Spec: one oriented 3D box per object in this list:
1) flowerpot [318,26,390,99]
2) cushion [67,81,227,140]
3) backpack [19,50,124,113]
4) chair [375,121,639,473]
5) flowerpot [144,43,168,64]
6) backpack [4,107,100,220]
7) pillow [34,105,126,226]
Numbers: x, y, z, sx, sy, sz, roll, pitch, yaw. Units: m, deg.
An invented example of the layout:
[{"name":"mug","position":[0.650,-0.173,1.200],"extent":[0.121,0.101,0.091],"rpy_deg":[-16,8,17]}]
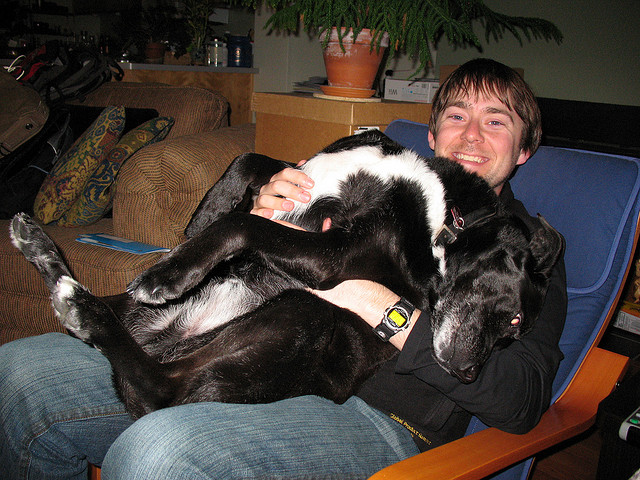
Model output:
[{"name":"flowerpot","position":[0.167,-0.962,2.741],"extent":[0.391,0.350,0.393],"rpy_deg":[4,23,-2]},{"name":"cushion","position":[-1.187,-0.988,3.582],"extent":[1.094,0.361,0.630],"rpy_deg":[10,27,28]},{"name":"backpack","position":[-1.835,-1.203,3.875],"extent":[0.619,0.226,0.583],"rpy_deg":[-32,49,-34]},{"name":"chair","position":[0.692,0.356,1.950],"extent":[0.861,0.954,1.204],"rpy_deg":[18,48,26]},{"name":"flowerpot","position":[-1.857,-2.117,5.717],"extent":[0.216,0.222,0.191],"rpy_deg":[-3,27,-17]},{"name":"backpack","position":[-1.645,-0.444,3.067],"extent":[0.191,0.584,0.551],"rpy_deg":[36,3,-36]},{"name":"pillow","position":[-1.426,-0.437,3.008],"extent":[0.553,0.694,0.292],"rpy_deg":[-12,30,-31]}]
